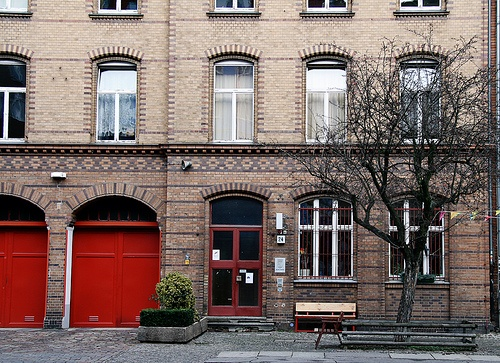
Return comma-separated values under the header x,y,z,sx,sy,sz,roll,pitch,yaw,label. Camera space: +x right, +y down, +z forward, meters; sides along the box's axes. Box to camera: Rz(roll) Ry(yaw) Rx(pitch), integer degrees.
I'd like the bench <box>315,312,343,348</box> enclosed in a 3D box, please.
x,y,z,sx,sy,sz,roll,pitch,yaw,label
2.716,4.632,33.476,1.103,1.182,1.042,-4,19,6,bench
